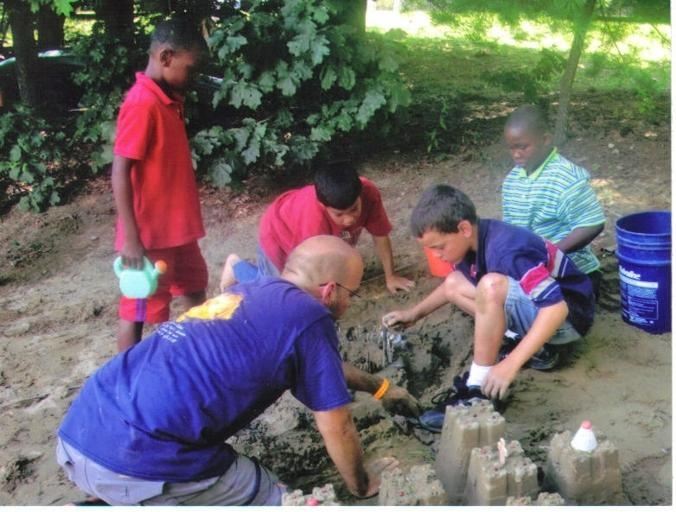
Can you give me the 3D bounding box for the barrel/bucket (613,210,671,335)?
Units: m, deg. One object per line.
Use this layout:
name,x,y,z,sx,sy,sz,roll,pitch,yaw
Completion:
barrel/bucket,2.277,0.115,5.235,0.416,0.816,0.407,-3,16,1

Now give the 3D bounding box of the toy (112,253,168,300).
toy,-1.383,0.142,4.973,0.355,0.332,0.189,3,16,9

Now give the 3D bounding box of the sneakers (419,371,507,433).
sneakers,0.793,1.049,4.598,0.205,0.238,0.606,-5,-3,-35

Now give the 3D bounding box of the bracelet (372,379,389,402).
bracelet,0.269,0.879,4.582,0.047,0.124,0.114,15,33,38

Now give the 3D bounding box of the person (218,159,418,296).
person,-0.202,-0.230,5.495,0.994,1.312,1.234,-27,37,-35
